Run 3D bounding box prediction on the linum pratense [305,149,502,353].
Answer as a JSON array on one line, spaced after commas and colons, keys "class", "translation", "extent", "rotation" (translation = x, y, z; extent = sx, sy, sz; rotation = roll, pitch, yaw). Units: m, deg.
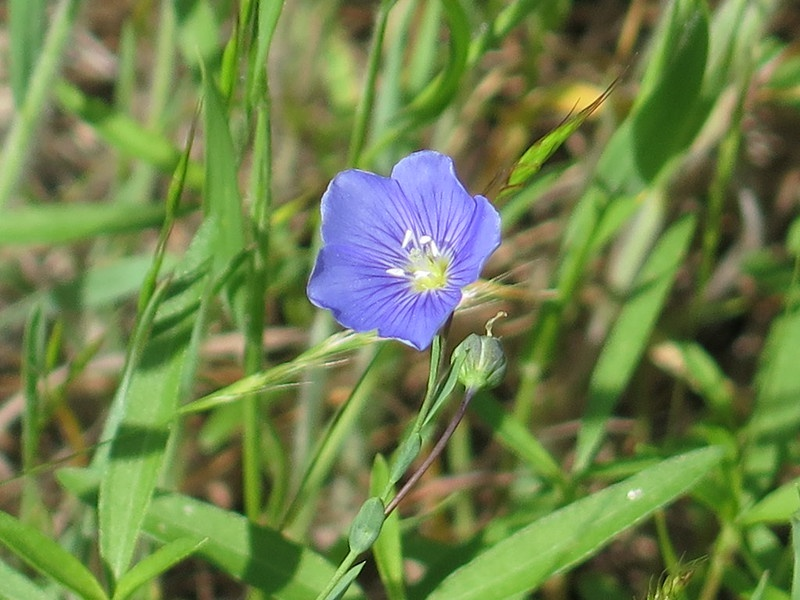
[{"class": "linum pratense", "translation": [0.014, -0.102, 1.888], "extent": [0.365, 0.304, 0.235], "rotation": [6, 21, 24]}]
